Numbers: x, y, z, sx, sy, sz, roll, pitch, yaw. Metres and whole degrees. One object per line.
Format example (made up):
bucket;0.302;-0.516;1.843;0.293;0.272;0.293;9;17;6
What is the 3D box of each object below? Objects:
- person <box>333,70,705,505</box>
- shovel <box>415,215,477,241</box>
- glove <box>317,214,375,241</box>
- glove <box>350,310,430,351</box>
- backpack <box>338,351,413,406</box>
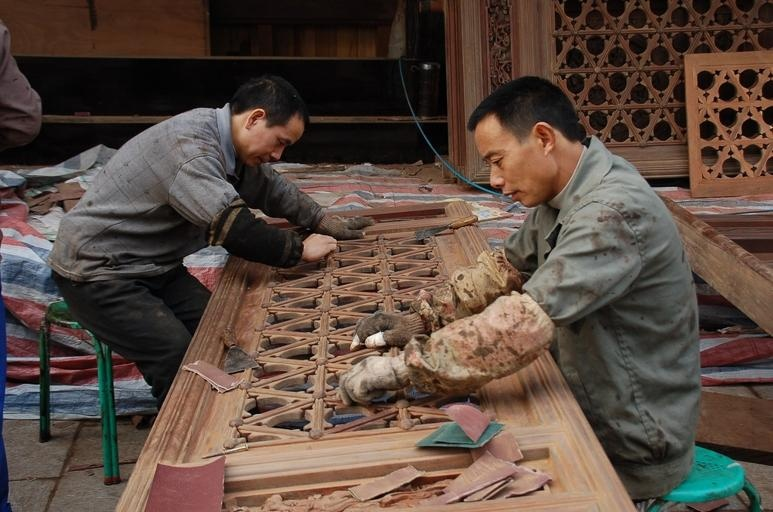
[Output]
person;0.588;0.152;2.059;1.236;1.622;0.798;2;21;12
shovel;0.330;-0.154;3.198;0.143;0.045;0.468;-18;8;-43
glove;-0.245;-0.176;3.350;0.294;0.064;0.173;0;16;-30
glove;0.006;0.308;2.258;0.260;0.055;0.182;-14;16;-3
backpack;-0.045;0.464;1.995;0.293;0.104;0.163;-28;49;8
